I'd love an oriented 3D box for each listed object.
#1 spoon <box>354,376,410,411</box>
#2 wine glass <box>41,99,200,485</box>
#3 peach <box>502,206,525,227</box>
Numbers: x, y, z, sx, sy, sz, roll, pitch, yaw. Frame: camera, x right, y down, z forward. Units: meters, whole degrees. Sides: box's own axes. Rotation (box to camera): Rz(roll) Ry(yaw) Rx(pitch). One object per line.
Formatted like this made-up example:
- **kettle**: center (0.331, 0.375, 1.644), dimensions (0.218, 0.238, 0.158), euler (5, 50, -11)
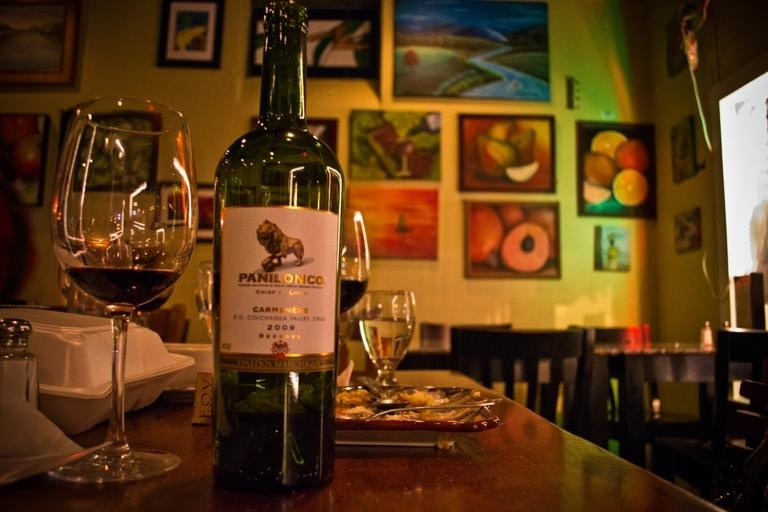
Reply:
- **spoon**: center (-0.004, 0.260, 1.231), dimensions (0.050, 0.022, 0.152), euler (8, 0, -15)
- **wine glass**: center (-0.429, 0.063, 1.141), dimensions (0.271, 0.627, 0.198), euler (1, 0, -5)
- **peach**: center (0.845, -0.256, 4.304), dimensions (0.127, 0.128, 0.153), euler (4, 2, 5)
